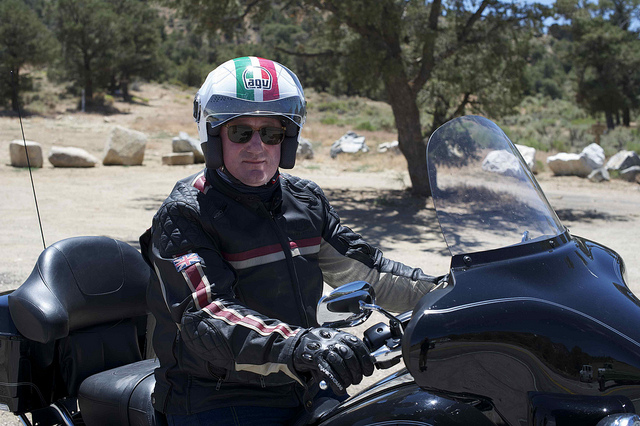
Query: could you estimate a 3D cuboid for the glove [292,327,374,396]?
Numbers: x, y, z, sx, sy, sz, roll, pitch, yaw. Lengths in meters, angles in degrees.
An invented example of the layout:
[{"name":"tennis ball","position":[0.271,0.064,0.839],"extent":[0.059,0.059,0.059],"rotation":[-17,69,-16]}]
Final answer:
[{"name":"glove","position":[0.075,0.954,5.910],"extent":[0.480,0.307,0.411],"rotation":[21,37,34]}]
